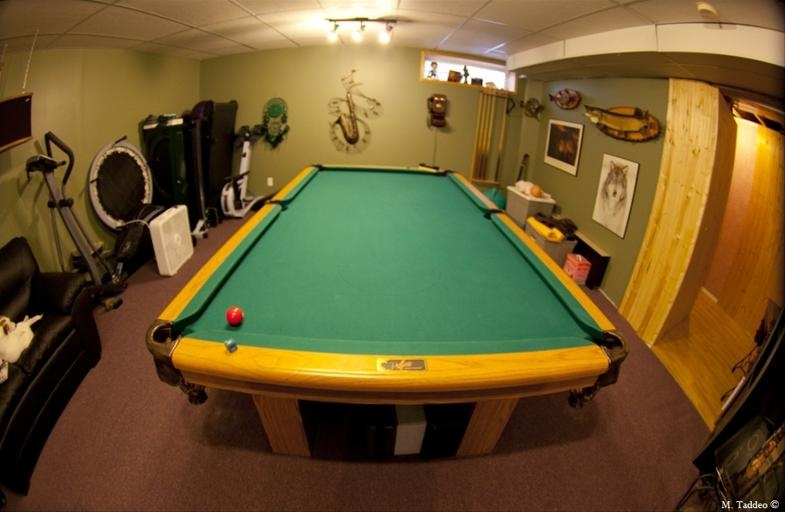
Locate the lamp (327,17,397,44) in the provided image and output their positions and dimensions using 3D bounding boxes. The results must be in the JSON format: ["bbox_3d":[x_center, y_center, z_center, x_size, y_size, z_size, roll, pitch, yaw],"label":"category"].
[{"bbox_3d":[-0.373,-2.938,6.265,0.903,0.222,0.914,1,21,0],"label":"lamp"}]

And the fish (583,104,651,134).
[{"bbox_3d":[2.730,-1.729,5.957,0.162,0.339,0.906,-10,34,-34],"label":"fish"}]

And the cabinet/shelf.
[{"bbox_3d":[-2.645,-1.507,7.399,0.376,1.639,0.768,2,16,-9],"label":"cabinet/shelf"}]
